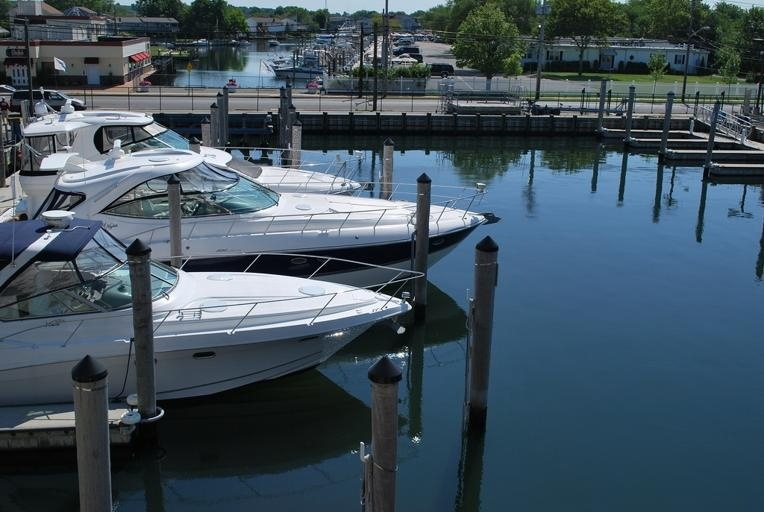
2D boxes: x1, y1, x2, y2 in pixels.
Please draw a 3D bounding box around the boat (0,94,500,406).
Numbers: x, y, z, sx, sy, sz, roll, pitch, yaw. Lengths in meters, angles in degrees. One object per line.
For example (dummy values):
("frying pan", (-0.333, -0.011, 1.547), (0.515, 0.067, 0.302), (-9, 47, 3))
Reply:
("boat", (-2.844, -2.461, 23.140), (11.733, 3.264, 13.143), (2, 14, 7))
